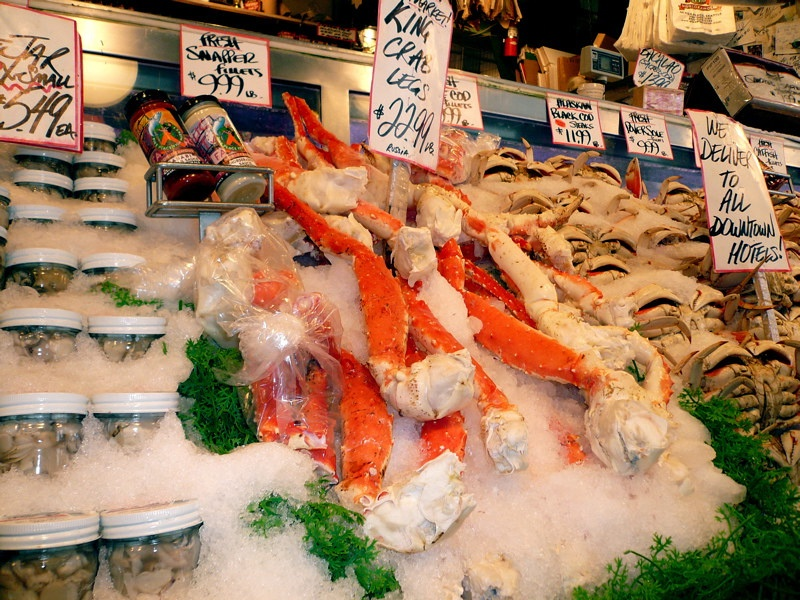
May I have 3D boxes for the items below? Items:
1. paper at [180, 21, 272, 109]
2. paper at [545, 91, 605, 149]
[{"bbox_3d":[-0.555,-0.757,1.995,0.308,0.218,0.019,9,22,6],"label":"paper"},{"bbox_3d":[0.782,-0.792,2.740,0.027,0.229,0.304,-33,36,-22],"label":"paper"}]
